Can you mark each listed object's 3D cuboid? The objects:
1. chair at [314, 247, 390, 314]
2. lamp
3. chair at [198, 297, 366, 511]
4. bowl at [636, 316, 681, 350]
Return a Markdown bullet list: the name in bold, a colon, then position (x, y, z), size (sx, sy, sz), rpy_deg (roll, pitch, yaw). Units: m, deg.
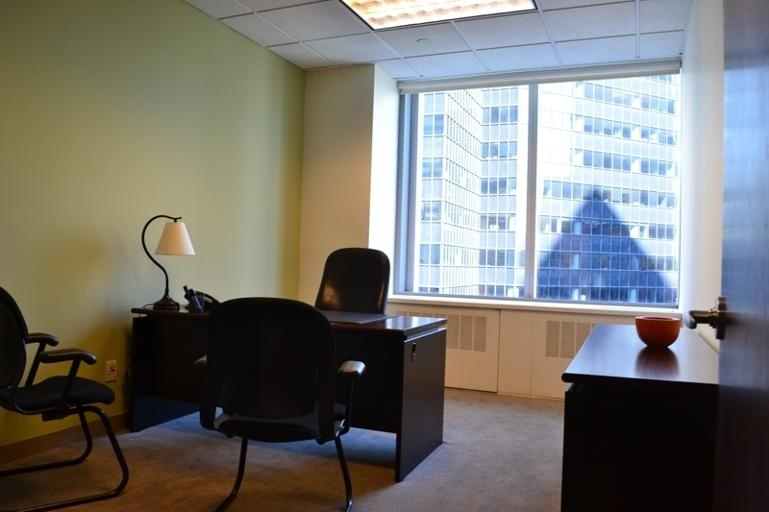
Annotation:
- **chair**: position (-0.172, 0.200, 4.314), size (0.434, 0.621, 0.505), rpy_deg (3, -8, 15)
- **lamp**: position (-1.635, 0.026, 4.200), size (0.358, 0.732, 0.519), rpy_deg (2, -1, -24)
- **chair**: position (-0.500, 0.696, 2.996), size (0.871, 1.200, 0.753), rpy_deg (1, -1, 8)
- **bowl**: position (1.267, 0.345, 2.596), size (0.219, 0.161, 0.222), rpy_deg (-6, 7, 1)
